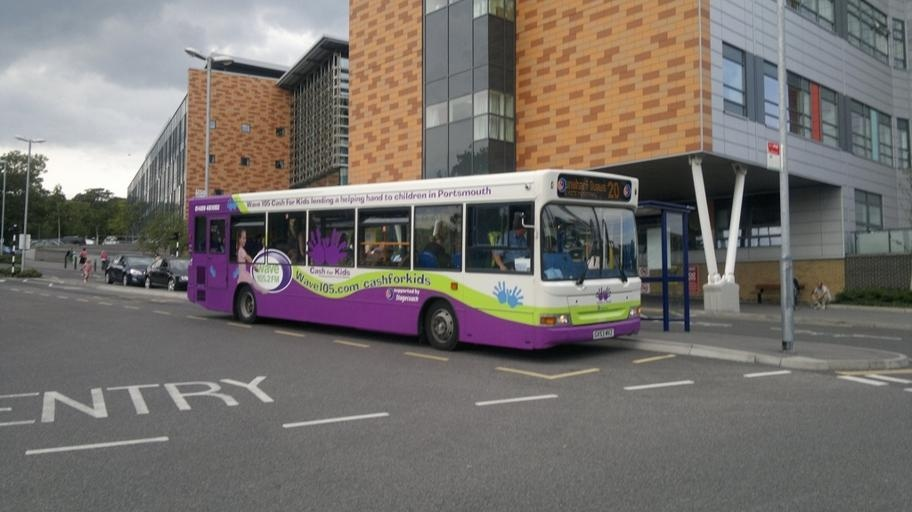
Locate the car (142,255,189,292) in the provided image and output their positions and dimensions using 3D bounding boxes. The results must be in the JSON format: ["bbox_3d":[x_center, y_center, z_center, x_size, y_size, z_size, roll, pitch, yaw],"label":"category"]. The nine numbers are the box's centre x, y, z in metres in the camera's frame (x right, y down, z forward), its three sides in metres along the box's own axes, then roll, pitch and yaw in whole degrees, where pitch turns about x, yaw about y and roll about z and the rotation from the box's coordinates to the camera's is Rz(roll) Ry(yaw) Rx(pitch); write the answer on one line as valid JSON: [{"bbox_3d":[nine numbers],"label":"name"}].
[{"bbox_3d":[-16.338,1.018,40.233,1.609,1.293,3.432,4,-7,-43],"label":"car"}]

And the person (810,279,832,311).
[{"bbox_3d":[16.426,1.803,32.267,0.588,1.133,1.103,4,12,18],"label":"person"}]

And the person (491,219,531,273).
[{"bbox_3d":[1.495,-0.348,19.107,1.157,1.460,0.302,9,15,38],"label":"person"}]
